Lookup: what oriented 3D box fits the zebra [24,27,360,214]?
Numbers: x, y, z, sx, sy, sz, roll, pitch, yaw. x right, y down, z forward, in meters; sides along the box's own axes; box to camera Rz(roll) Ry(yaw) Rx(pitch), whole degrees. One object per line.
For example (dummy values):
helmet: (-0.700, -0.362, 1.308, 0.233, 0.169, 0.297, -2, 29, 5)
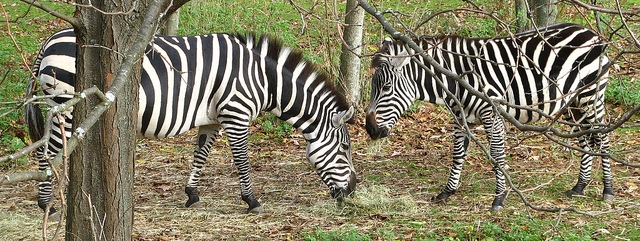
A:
zebra: (-2.845, 0.035, 17.351, 8.048, 4.835, 2.234, 3, 11, 1)
